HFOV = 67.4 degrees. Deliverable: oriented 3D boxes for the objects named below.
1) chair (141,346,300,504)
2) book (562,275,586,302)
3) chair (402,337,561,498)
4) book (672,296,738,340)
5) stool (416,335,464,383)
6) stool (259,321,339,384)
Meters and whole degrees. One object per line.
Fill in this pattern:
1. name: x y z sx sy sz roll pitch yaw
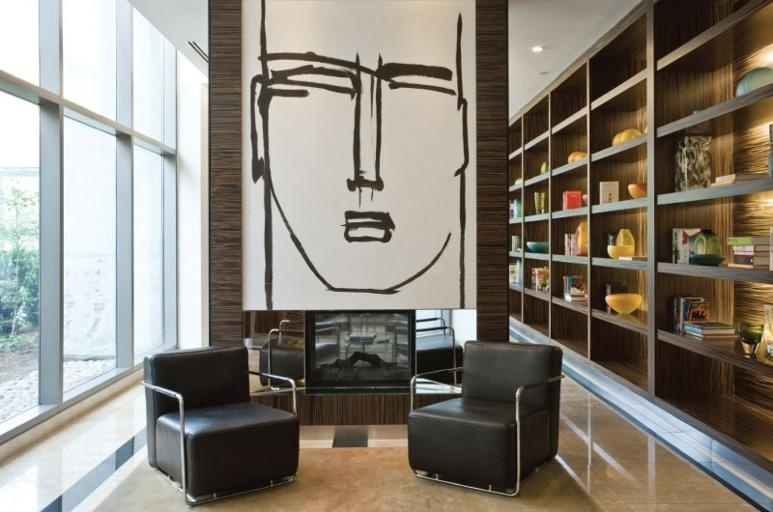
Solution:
1. chair: -1.360 1.387 5.111 1.242 1.182 1.219 2 -6 -40
2. book: 2.353 0.424 7.195 0.396 0.369 0.282 0 -4 6
3. chair: 0.884 1.326 5.035 1.212 1.054 1.082 -1 -1 -44
4. book: 2.894 0.562 5.234 0.352 0.325 0.450 0 0 -1
5. stool: 0.490 1.002 5.628 0.471 0.470 0.464 0 -2 1
6. stool: -0.990 0.971 5.856 0.641 0.584 0.633 6 0 1
